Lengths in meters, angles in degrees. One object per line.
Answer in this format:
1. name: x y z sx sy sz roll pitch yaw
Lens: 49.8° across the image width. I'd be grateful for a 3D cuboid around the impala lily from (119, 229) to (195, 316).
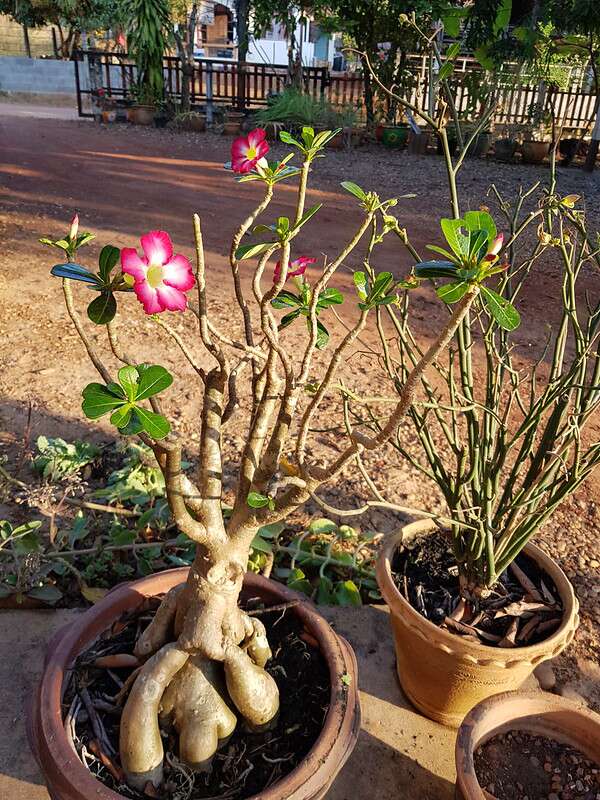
1. impala lily: -0.190 -0.162 0.857 0.036 0.106 0.111 -1 15 41
